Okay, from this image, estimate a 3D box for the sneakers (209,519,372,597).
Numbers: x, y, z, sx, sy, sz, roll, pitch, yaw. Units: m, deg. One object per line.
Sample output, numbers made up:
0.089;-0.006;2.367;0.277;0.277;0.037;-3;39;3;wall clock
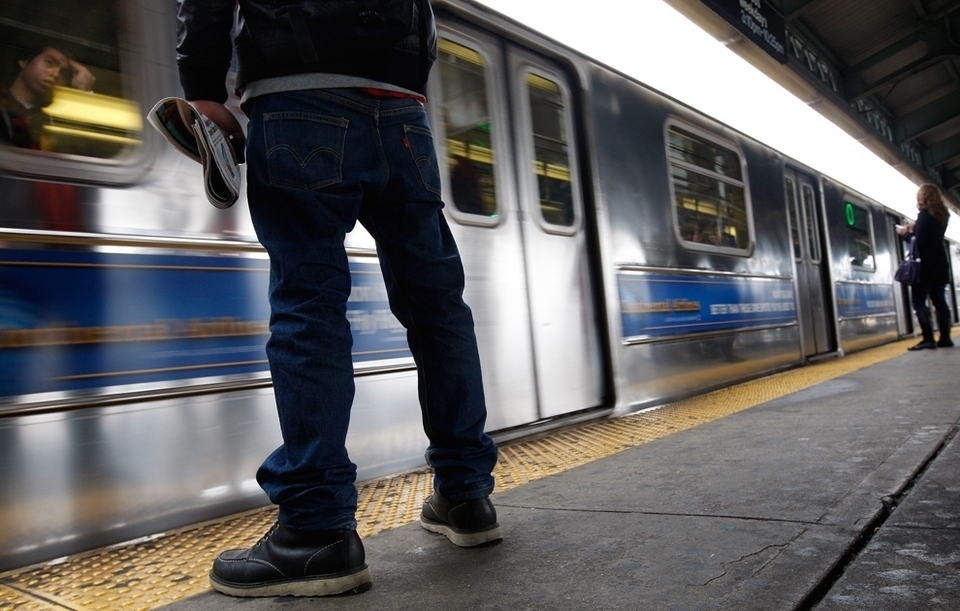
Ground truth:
-0.620;0.865;1.878;0.519;0.229;0.226;1;-15;8;sneakers
